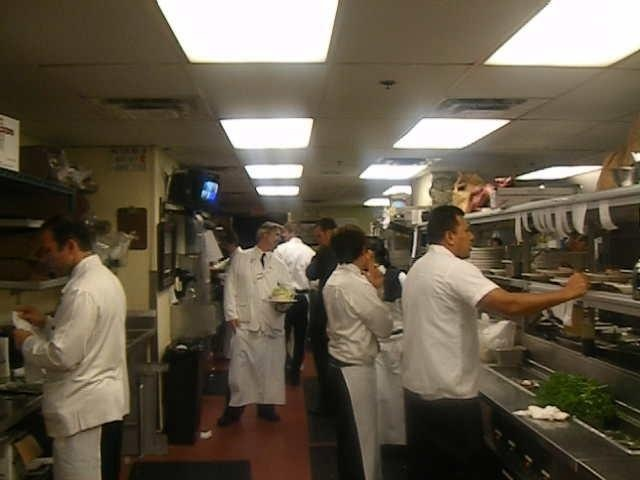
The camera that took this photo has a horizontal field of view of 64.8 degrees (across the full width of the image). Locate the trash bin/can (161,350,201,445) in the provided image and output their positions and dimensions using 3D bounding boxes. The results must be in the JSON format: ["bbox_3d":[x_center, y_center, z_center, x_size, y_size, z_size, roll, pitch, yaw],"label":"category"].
[{"bbox_3d":[-1.293,1.485,4.697,0.259,0.629,0.760,1,-10,-5],"label":"trash bin/can"}]

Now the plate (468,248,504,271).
[{"bbox_3d":[1.436,0.152,4.346,0.221,0.092,0.254,0,1,-16],"label":"plate"}]

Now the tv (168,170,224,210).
[{"bbox_3d":[-1.300,-0.511,5.328,0.395,0.442,0.556,2,-4,8],"label":"tv"}]

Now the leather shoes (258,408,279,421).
[{"bbox_3d":[-0.513,1.715,5.010,0.191,0.134,0.098,1,-5,10],"label":"leather shoes"}]

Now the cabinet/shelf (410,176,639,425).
[{"bbox_3d":[1.314,0.409,3.684,1.677,1.666,1.215,-2,1,-12],"label":"cabinet/shelf"}]

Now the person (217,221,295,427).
[{"bbox_3d":[-0.648,0.809,5.053,0.770,1.929,0.637,-2,7,-4],"label":"person"}]
